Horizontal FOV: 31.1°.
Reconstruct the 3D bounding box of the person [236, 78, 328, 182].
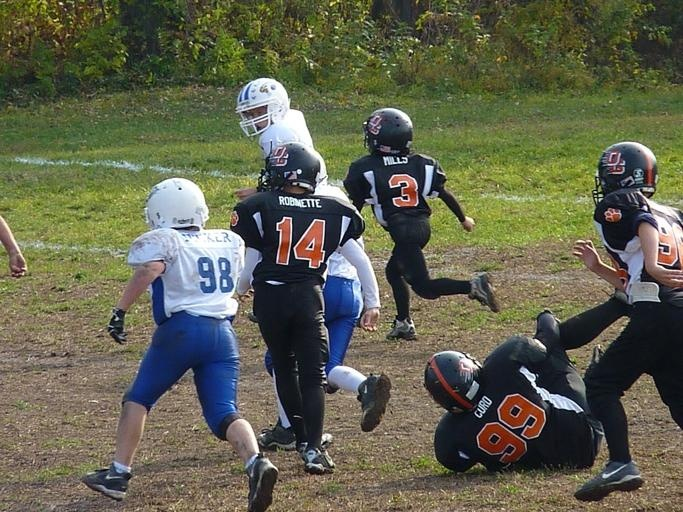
[{"bbox_3d":[-0.911,-1.734,15.776,1.124,1.475,0.689,-9,-1,10],"label":"person"}]
